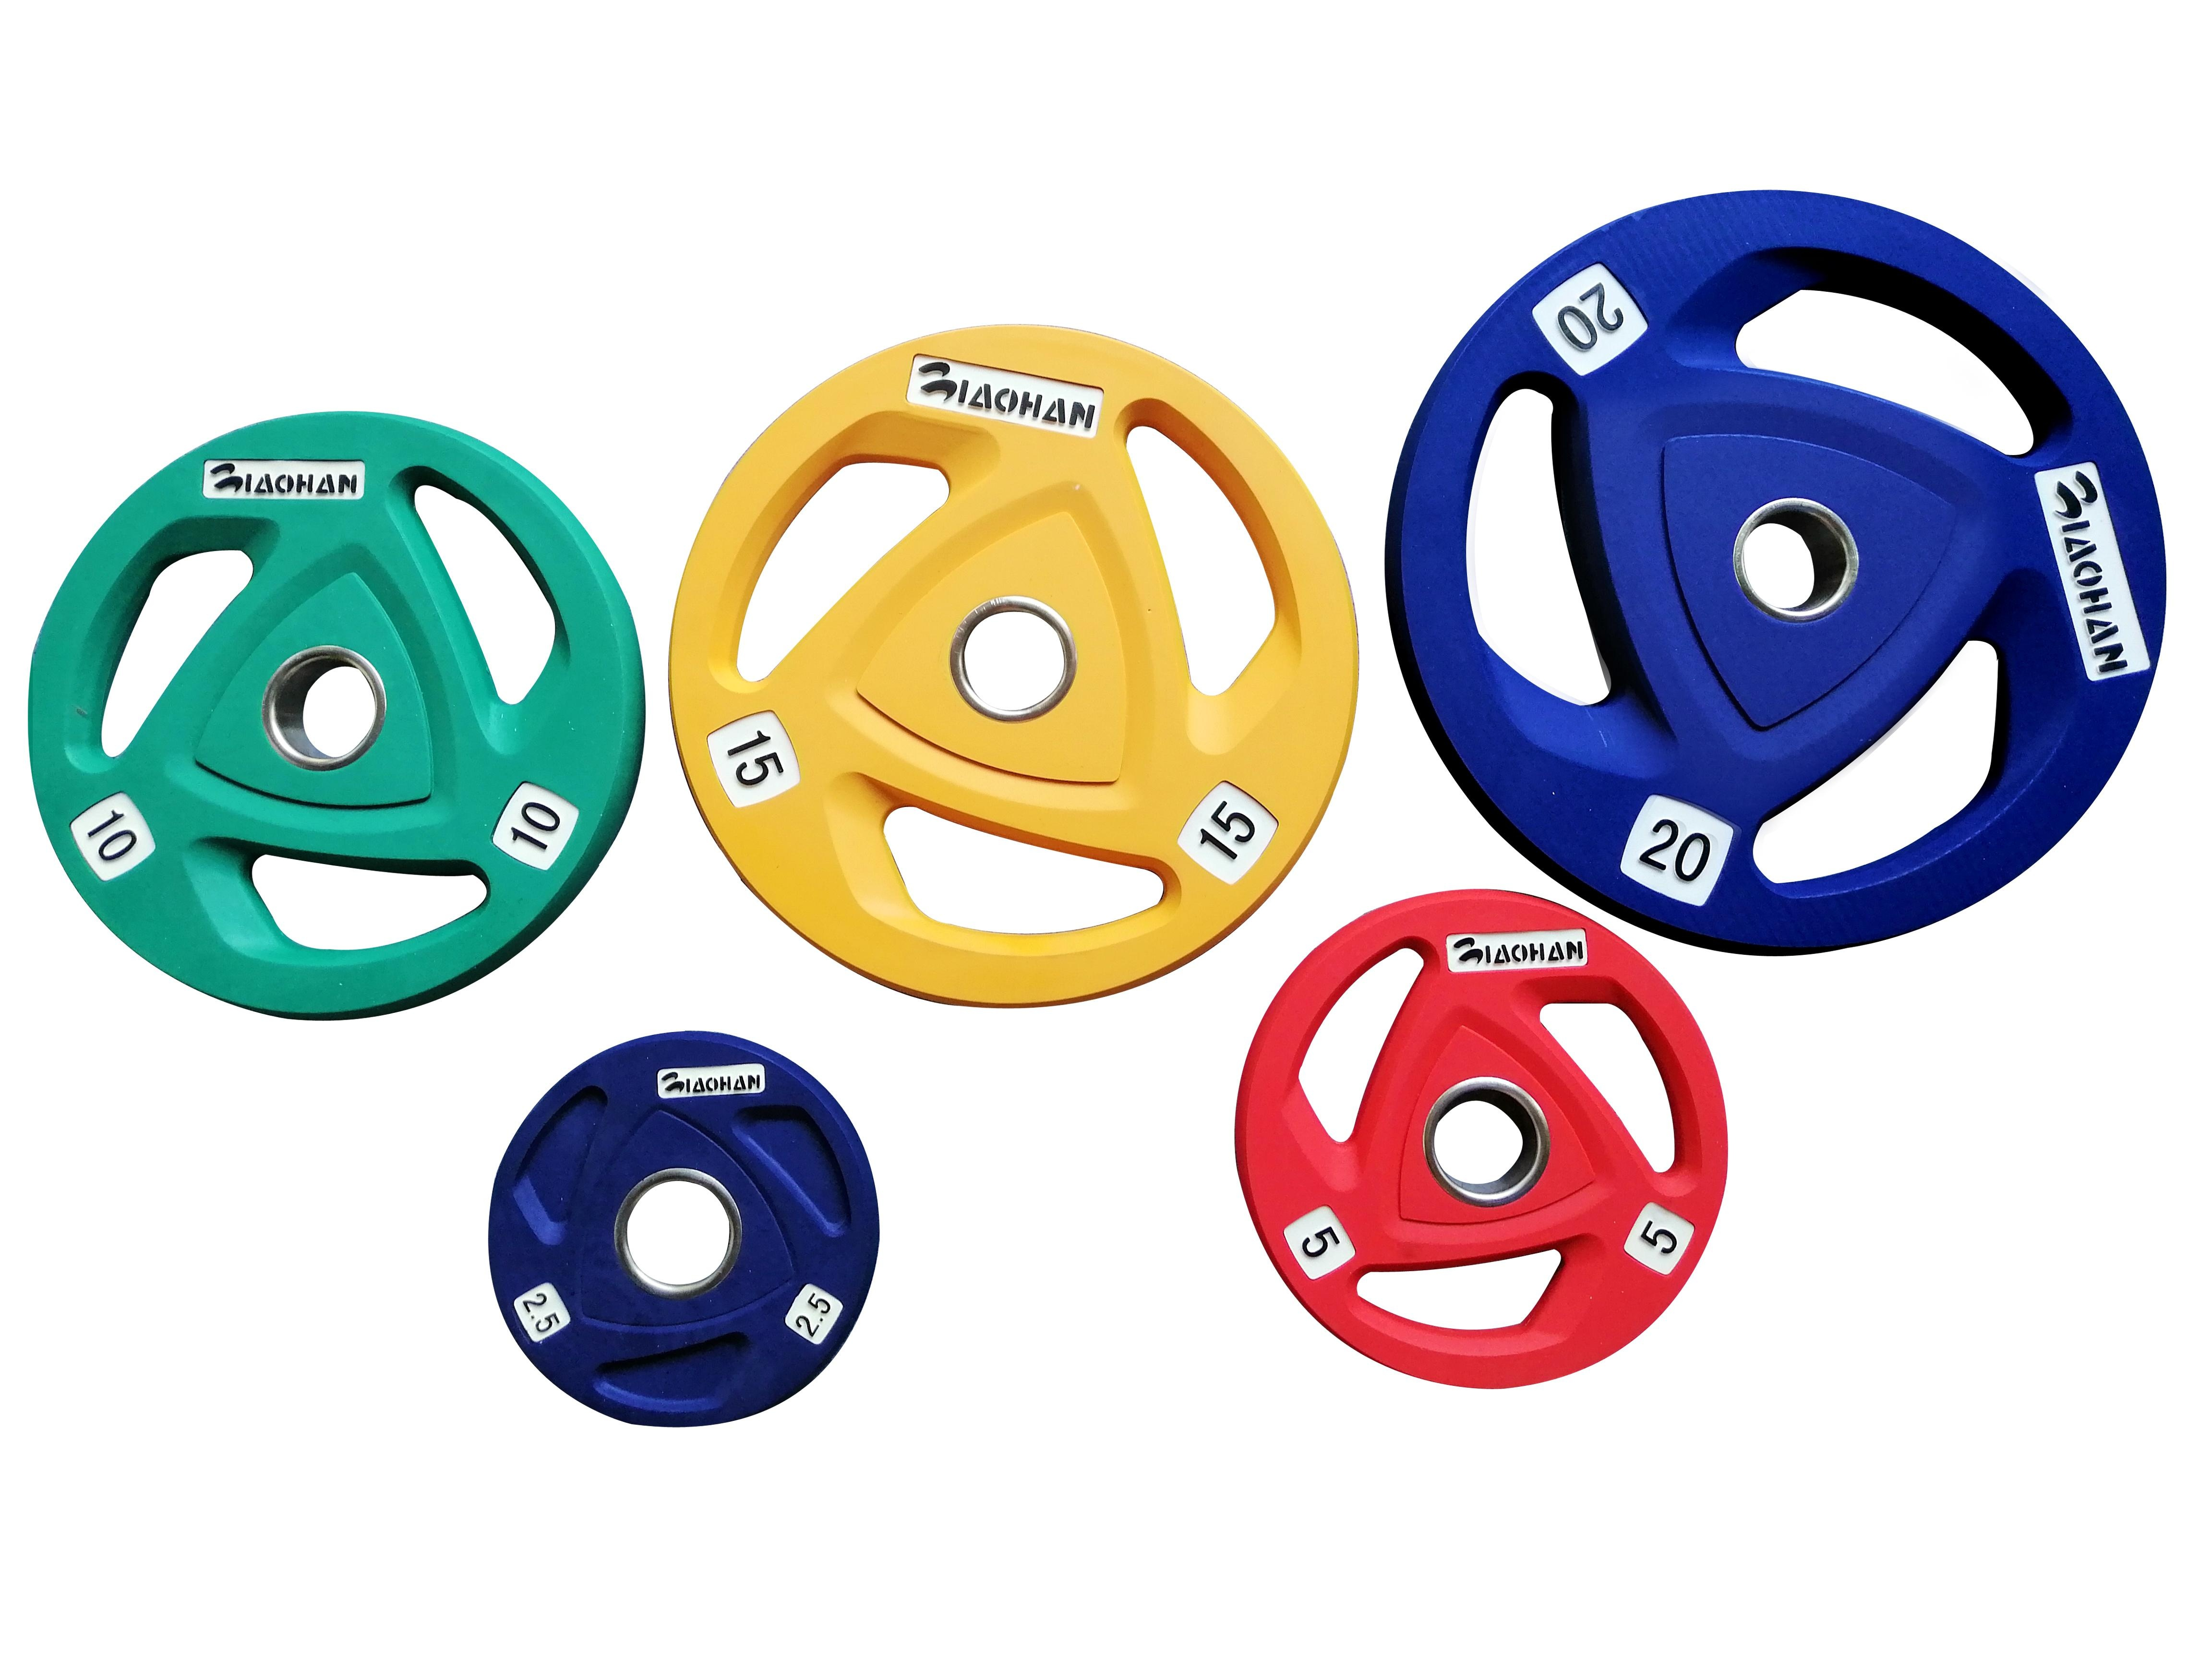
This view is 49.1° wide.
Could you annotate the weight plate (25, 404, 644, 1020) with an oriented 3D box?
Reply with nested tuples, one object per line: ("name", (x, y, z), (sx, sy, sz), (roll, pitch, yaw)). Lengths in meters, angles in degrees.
("weight plate", (-1.199, -0.178, 3.895), (0.744, 0.095, 1.011), (0, -92, 2))

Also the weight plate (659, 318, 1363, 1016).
("weight plate", (-0.154, -0.271, 4.011), (1.126, 0.300, 1.056), (0, -74, 1))

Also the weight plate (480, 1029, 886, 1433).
("weight plate", (-0.698, 0.666, 4.029), (0.634, 0.144, 0.631), (-2, -75, 1))

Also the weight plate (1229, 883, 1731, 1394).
("weight plate", (0.632, 0.529, 4.073), (0.793, 0.100, 1.053), (-1, -59, 9))

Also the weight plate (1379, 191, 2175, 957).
("weight plate", (1.113, -0.435, 4.056), (1.300, 0.345, 1.197), (11, -75, -2))
